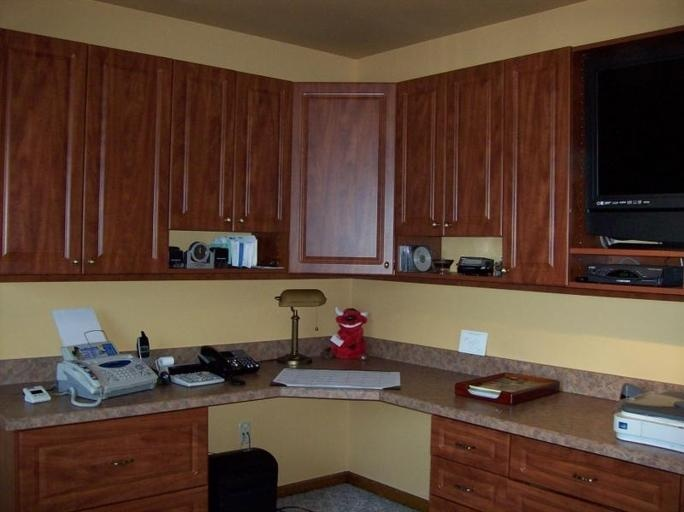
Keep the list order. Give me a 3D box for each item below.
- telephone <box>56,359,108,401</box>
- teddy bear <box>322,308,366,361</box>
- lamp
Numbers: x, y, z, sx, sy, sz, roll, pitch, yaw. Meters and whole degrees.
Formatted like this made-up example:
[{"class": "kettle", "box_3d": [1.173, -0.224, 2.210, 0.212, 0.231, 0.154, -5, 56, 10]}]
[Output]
[{"class": "telephone", "box_3d": [-1.308, 0.629, 2.761, 0.247, 0.088, 0.178, 22, 15, 32]}, {"class": "teddy bear", "box_3d": [0.027, 0.578, 3.973, 0.392, 0.432, 0.313, 1, -10, -4]}, {"class": "lamp", "box_3d": [-0.303, 0.464, 3.745, 0.298, 0.496, 0.411, -2, 8, -20]}]
